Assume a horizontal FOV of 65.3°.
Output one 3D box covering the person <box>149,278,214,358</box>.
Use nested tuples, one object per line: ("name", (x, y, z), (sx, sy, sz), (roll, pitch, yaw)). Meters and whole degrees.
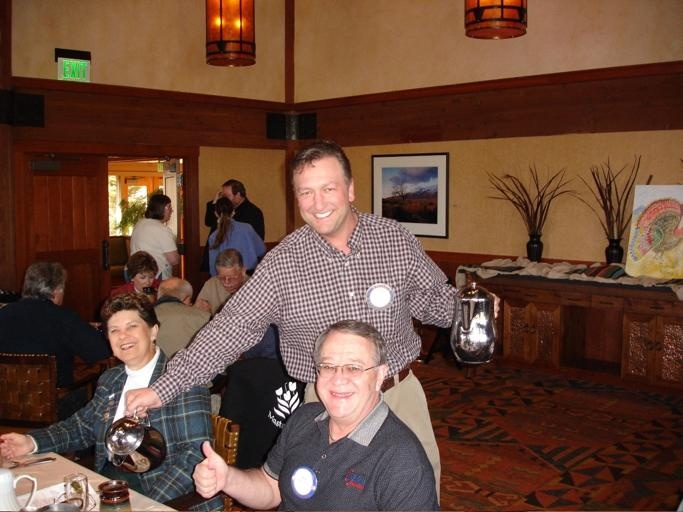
("person", (-1.206, 0.627, 3.936), (0.408, 0.989, 0.329), (5, 24, -10))

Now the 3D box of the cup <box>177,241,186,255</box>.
("cup", (-2.396, -0.125, 7.984), (0.112, 0.203, 0.212), (-5, -4, 41))

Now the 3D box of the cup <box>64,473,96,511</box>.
("cup", (-0.890, 0.805, 1.793), (0.071, 0.108, 0.137), (-4, 7, -31))

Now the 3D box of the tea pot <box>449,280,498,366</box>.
("tea pot", (0.526, 0.266, 2.119), (0.173, 0.329, 0.206), (0, 6, 12))

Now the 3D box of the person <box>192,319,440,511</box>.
("person", (-0.035, 0.587, 1.826), (0.720, 0.718, 0.373), (0, 6, 9))

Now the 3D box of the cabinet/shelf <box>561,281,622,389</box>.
("cabinet/shelf", (2.846, 0.881, 6.004), (0.535, 0.837, 0.672), (4, 8, 40))

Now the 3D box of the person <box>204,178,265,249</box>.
("person", (-1.430, -0.557, 6.920), (0.752, 0.869, 0.499), (33, 35, 32))
